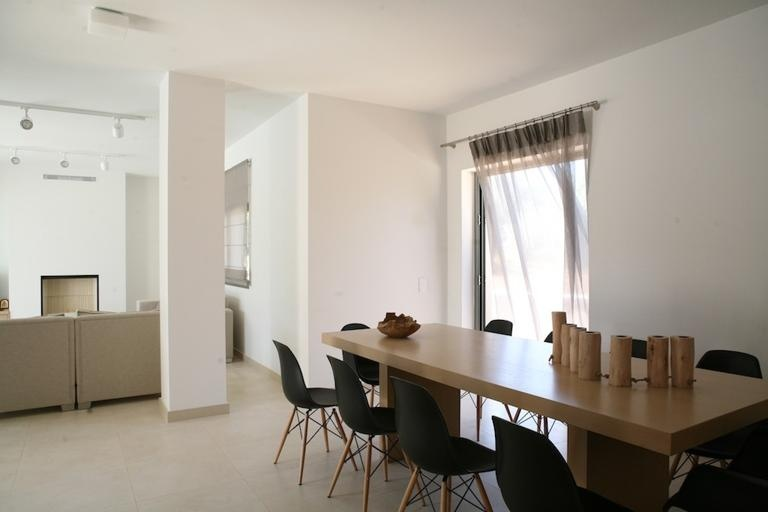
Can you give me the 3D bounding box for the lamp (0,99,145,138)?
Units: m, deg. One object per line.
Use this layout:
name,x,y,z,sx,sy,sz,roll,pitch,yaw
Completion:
lamp,-4.030,-1.802,6.735,1.599,0.331,0.998,-7,13,-31

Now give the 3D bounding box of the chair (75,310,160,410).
chair,-3.346,1.236,6.500,0.946,1.110,0.944,0,0,-33
